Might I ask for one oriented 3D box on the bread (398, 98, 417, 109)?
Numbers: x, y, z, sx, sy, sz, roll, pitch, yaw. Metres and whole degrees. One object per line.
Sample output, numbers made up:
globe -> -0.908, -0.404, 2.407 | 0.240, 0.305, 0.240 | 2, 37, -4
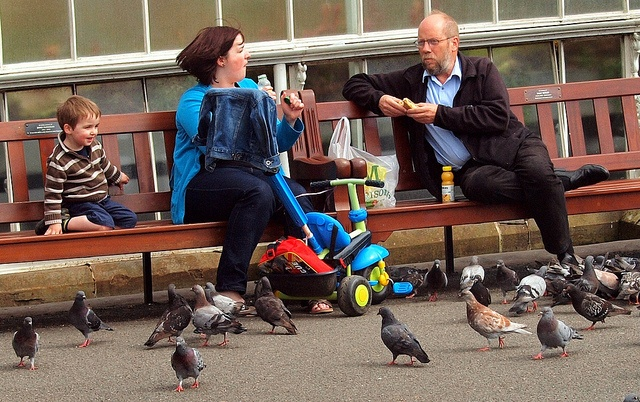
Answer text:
bread -> 0.895, -0.991, 10.774 | 0.124, 0.037, 0.128 | 37, 16, 27

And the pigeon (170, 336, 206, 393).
pigeon -> -1.077, 1.269, 8.563 | 0.263, 0.447, 0.269 | -5, 12, -9

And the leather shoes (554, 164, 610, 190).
leather shoes -> 2.679, -0.286, 10.778 | 0.665, 0.213, 0.270 | -5, 17, 7

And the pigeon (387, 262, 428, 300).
pigeon -> 0.838, 0.758, 10.526 | 0.523, 0.310, 0.213 | -6, -2, -27

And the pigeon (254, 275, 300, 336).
pigeon -> -0.408, 0.917, 9.535 | 0.363, 0.509, 0.499 | -3, 11, -3

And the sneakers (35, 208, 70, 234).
sneakers -> -2.541, 0.187, 10.007 | 0.359, 0.163, 0.187 | 2, -3, -32

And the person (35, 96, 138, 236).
person -> -2.345, -0.332, 10.406 | 0.747, 1.156, 1.302 | 6, 14, 18

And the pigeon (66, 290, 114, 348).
pigeon -> -2.075, 1.016, 9.489 | 0.351, 0.493, 0.452 | -5, 12, -14

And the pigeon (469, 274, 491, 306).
pigeon -> 1.474, 0.808, 9.782 | 0.139, 0.337, 0.144 | -20, -35, 4

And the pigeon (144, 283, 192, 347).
pigeon -> -1.312, 0.977, 9.120 | 0.256, 0.470, 0.361 | 6, 14, 36

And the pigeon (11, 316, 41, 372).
pigeon -> -2.528, 1.175, 9.040 | 0.204, 0.427, 0.328 | -7, 12, -18

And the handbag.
handbag -> -0.234, 0.472, 9.826 | 0.530, 0.207, 0.330 | 4, 0, 4

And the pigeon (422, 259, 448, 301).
pigeon -> 1.139, 0.739, 10.516 | 0.210, 0.417, 0.471 | -2, 11, 6

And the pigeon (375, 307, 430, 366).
pigeon -> 0.711, 1.111, 8.824 | 0.448, 0.459, 0.291 | 1, 12, 19

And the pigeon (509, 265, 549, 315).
pigeon -> 1.918, 0.801, 9.684 | 0.600, 0.359, 0.211 | -18, 21, -40
